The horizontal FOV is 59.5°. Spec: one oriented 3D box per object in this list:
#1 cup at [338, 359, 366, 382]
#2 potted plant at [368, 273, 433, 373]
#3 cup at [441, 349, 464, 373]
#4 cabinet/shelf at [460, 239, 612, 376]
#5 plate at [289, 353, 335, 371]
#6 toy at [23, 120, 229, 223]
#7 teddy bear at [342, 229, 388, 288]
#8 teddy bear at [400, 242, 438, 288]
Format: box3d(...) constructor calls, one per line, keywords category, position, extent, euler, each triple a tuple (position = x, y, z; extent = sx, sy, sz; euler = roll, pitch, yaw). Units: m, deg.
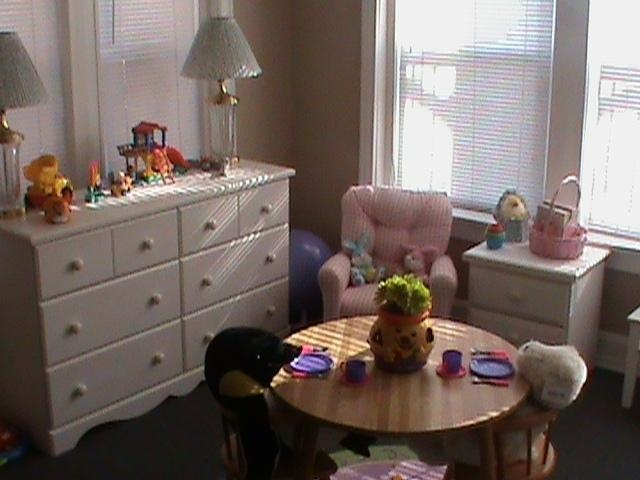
box3d(category="cup", position=(0.155, 0.567, 2.450), extent=(0.062, 0.076, 0.105), euler=(-1, 0, -16))
box3d(category="potted plant", position=(0.330, 0.363, 2.575), extent=(0.331, 0.547, 0.361), euler=(0, 0, -3))
box3d(category="cup", position=(0.614, 0.538, 2.548), extent=(0.079, 0.094, 0.088), euler=(1, 10, 11))
box3d(category="cabinet/shelf", position=(1.367, 0.249, 3.865), extent=(0.785, 1.244, 0.744), euler=(4, 8, 23))
box3d(category="plate", position=(-0.035, 0.565, 2.573), extent=(0.097, 0.016, 0.105), euler=(-6, 15, -21))
box3d(category="toy", position=(-1.213, -0.404, 3.408), extent=(1.018, 0.431, 0.282), euler=(-18, 30, -32))
box3d(category="teddy bear", position=(0.313, 0.122, 3.938), extent=(0.265, 0.318, 0.216), euler=(-9, 22, -22))
box3d(category="teddy bear", position=(0.665, 0.191, 3.853), extent=(0.247, 0.337, 0.212), euler=(6, -13, 32))
